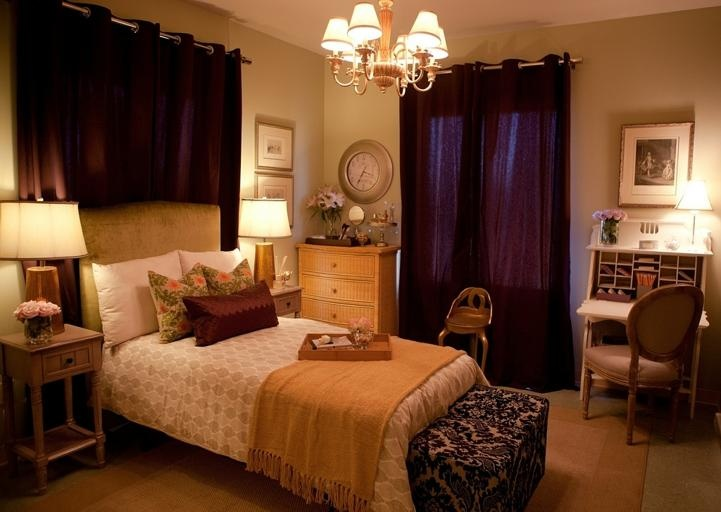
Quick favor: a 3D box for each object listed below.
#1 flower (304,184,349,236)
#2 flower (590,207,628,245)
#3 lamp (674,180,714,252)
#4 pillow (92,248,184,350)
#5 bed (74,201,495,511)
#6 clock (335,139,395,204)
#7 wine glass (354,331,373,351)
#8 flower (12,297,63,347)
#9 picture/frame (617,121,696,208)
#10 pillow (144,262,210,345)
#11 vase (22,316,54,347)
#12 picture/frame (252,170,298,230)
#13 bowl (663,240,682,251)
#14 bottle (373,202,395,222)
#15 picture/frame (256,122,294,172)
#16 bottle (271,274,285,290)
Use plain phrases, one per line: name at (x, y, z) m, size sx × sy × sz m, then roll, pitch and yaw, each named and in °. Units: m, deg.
flower at (-0.401, -0.574, 6.483) m, size 0.556 × 0.629 × 0.586 m, roll -3°, pitch 5°, yaw -30°
flower at (2.495, -0.317, 5.303) m, size 0.328 × 0.365 × 0.329 m, roll -2°, pitch 3°, yaw -38°
lamp at (3.174, -0.429, 5.050) m, size 0.281 × 0.634 × 0.327 m, roll 5°, pitch 9°, yaw 32°
pillow at (-1.863, 0.375, 4.363) m, size 0.340 × 0.980 × 0.745 m, roll 2°, pitch 4°, yaw 43°
bed at (-0.676, 0.545, 4.363) m, size 3.047 × 1.972 × 1.896 m, roll 3°, pitch 6°, yaw 36°
clock at (0.074, -1.051, 6.488) m, size 0.712 × 0.773 × 0.051 m, roll 4°, pitch 8°, yaw 26°
wine glass at (0.030, 0.664, 4.158) m, size 0.122 × 0.147 × 0.142 m, roll 0°, pitch -3°, yaw -2°
flower at (-2.352, 0.465, 3.872) m, size 0.278 × 0.304 × 0.273 m, roll -3°, pitch 9°, yaw -31°
picture/frame at (2.964, -0.941, 5.229) m, size 0.819 × 1.220 × 0.049 m, roll 2°, pitch 3°, yaw 24°
pillow at (-1.533, 0.407, 4.386) m, size 0.233 × 0.484 × 0.532 m, roll 5°, pitch 16°, yaw 30°
vase at (-2.313, 0.532, 3.797) m, size 0.190 × 0.223 × 0.198 m, roll 0°, pitch -2°, yaw -6°
picture/frame at (-0.953, -0.653, 5.756) m, size 0.031 × 0.861 × 0.695 m, roll 6°, pitch 7°, yaw 35°
bowl at (3.049, -0.109, 5.167) m, size 0.112 × 0.113 × 0.113 m, roll 0°, pitch 0°, yaw 0°
bottle at (0.292, -0.560, 6.365) m, size 0.241 × 0.307 × 0.162 m, roll -1°, pitch -5°, yaw 37°
picture/frame at (-0.987, -1.269, 5.970) m, size 0.042 × 0.583 × 0.573 m, roll 7°, pitch 8°, yaw 38°
bottle at (-0.846, 0.251, 5.599) m, size 0.148 × 0.158 × 0.099 m, roll 2°, pitch 3°, yaw 12°
